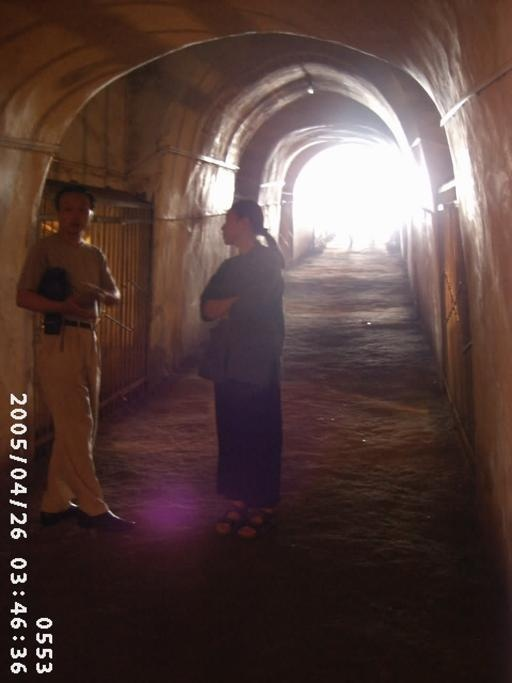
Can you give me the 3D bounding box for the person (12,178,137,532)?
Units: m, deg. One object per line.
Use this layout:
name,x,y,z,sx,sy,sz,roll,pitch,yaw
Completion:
person,-1.017,0.132,2.961,0.516,1.924,0.435,-5,9,-24

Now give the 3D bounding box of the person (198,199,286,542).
person,-0.080,0.107,3.150,0.474,1.819,0.245,-1,8,0

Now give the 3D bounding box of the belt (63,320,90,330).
belt,-0.963,-0.086,2.879,0.032,0.065,0.156,6,13,37
